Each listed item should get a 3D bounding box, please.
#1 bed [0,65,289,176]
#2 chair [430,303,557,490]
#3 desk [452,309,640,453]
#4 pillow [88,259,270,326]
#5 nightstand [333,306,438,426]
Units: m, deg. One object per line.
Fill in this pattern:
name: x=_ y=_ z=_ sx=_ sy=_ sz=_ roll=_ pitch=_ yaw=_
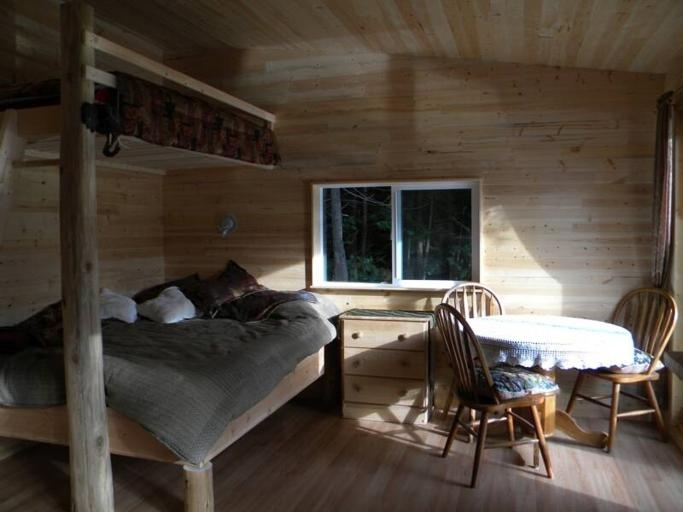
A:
bed: x=-1.186 y=-0.900 z=3.543 sx=1.097 sy=0.237 sz=1.050 roll=0 pitch=-4 yaw=20
chair: x=1.083 y=0.879 z=3.562 sx=0.880 sy=1.192 sz=0.758 roll=-10 pitch=13 yaw=-43
desk: x=1.557 y=0.973 z=3.862 sx=1.327 sy=0.712 sz=1.187 roll=15 pitch=-1 yaw=3
pillow: x=-1.366 y=0.369 z=4.498 sx=0.793 sy=0.211 sz=0.651 roll=-11 pitch=21 yaw=-26
nightstand: x=0.394 y=0.943 z=4.313 sx=1.145 sy=1.170 sz=0.624 roll=-1 pitch=-2 yaw=12
